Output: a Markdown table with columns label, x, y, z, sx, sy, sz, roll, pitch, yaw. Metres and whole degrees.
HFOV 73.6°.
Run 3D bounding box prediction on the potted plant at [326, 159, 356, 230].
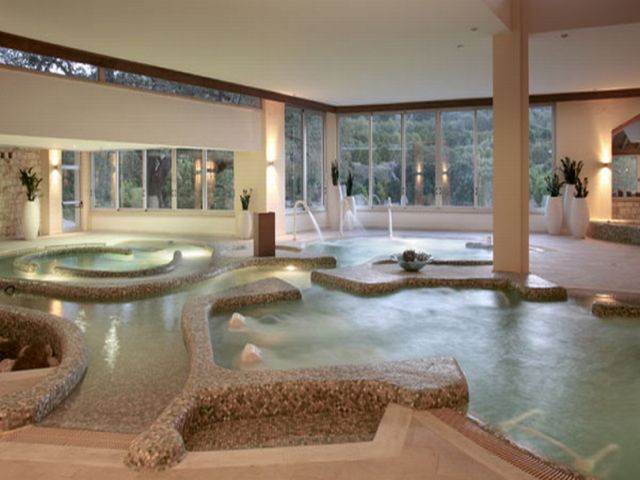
| label | x | y | z | sx | sy | sz | roll | pitch | yaw |
| --- | --- | --- | --- | --- | --- | --- | --- | --- | --- |
| potted plant | 0.846 | -1.727 | 15.764 | 1.060 | 2.622 | 1.712 | -3 | 5 | -6 |

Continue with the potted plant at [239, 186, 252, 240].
| label | x | y | z | sx | sy | sz | roll | pitch | yaw |
| --- | --- | --- | --- | --- | --- | --- | --- | --- | --- |
| potted plant | -2.275 | -0.835 | 13.128 | 0.422 | 1.539 | 0.749 | -3 | 6 | -10 |

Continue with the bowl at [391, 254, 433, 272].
| label | x | y | z | sx | sy | sz | roll | pitch | yaw |
| --- | --- | --- | --- | --- | --- | --- | --- | --- | --- |
| bowl | 1.678 | 0.394 | 7.927 | 0.382 | 0.158 | 0.398 | 1 | 8 | 0 |

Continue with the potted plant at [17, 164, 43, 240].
| label | x | y | z | sx | sy | sz | roll | pitch | yaw |
| --- | --- | --- | --- | --- | --- | --- | --- | --- | --- |
| potted plant | -8.913 | -1.161 | 13.203 | 0.611 | 2.238 | 1.039 | -6 | 7 | -34 |

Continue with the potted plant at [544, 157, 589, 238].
| label | x | y | z | sx | sy | sz | roll | pitch | yaw |
| --- | --- | --- | --- | --- | --- | --- | --- | --- | --- |
| potted plant | 7.669 | -1.364 | 13.348 | 1.190 | 2.474 | 1.360 | 1 | 6 | 31 |
